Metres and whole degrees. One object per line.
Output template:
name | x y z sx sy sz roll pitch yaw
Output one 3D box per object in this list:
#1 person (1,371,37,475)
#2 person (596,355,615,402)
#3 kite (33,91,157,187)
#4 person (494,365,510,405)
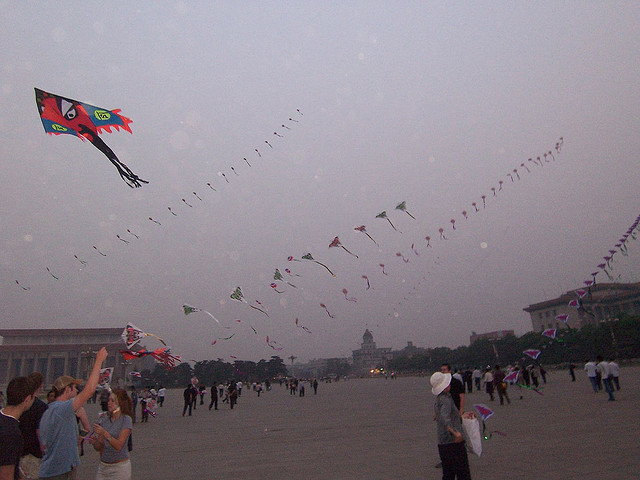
person | -4.112 2.449 6.353 0.391 1.250 0.299 15 -27 -43
person | 11.335 5.361 18.693 0.586 1.708 0.643 13 -23 -40
kite | -5.078 -2.250 10.620 2.381 0.242 3.486 -3 -24 9
person | 7.639 5.979 19.891 0.500 1.615 1.892 -11 -21 17
